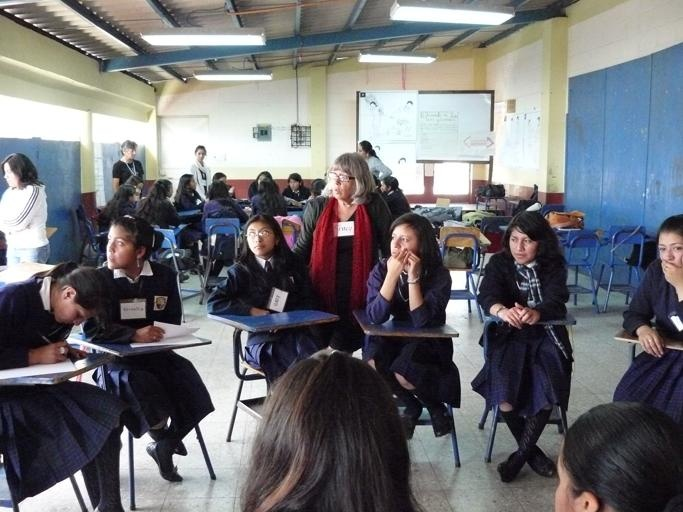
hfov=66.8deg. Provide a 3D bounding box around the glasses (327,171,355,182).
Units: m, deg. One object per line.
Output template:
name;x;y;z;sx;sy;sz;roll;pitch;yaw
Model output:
glasses;0.003;-0.509;3.219;0.156;0.062;0.045;4;11;21

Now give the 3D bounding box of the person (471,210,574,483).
person;1.007;0.475;2.882;0.516;1.447;0.538;3;11;16

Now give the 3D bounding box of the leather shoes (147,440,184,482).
leather shoes;-0.948;1.117;2.796;0.091;0.266;0.096;-33;6;-15

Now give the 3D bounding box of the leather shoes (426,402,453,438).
leather shoes;0.542;0.907;2.861;0.095;0.248;0.106;-10;51;7

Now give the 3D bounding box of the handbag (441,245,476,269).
handbag;1.262;-0.002;5.513;0.251;0.282;0.107;3;1;6

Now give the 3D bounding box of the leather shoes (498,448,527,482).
leather shoes;0.943;1.134;2.815;0.228;0.095;0.101;-5;5;-41

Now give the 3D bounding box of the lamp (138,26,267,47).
lamp;-1.774;-2.939;6.783;1.520;0.164;0.462;1;9;2

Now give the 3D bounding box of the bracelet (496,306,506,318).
bracelet;0.856;0.295;2.780;0.019;0.047;0.050;29;-31;-30

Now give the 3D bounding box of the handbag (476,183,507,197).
handbag;3.270;-1.445;11.268;0.450;0.198;0.329;2;3;-21

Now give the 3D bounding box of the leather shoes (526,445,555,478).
leather shoes;1.114;1.141;2.885;0.102;0.093;0.265;-9;0;-3

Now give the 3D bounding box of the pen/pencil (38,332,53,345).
pen/pencil;-1.232;0.346;2.162;0.015;0.104;0.011;-39;35;-13

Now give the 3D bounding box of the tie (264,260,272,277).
tie;-0.440;0.069;3.097;0.076;0.096;0.024;0;-1;-9
